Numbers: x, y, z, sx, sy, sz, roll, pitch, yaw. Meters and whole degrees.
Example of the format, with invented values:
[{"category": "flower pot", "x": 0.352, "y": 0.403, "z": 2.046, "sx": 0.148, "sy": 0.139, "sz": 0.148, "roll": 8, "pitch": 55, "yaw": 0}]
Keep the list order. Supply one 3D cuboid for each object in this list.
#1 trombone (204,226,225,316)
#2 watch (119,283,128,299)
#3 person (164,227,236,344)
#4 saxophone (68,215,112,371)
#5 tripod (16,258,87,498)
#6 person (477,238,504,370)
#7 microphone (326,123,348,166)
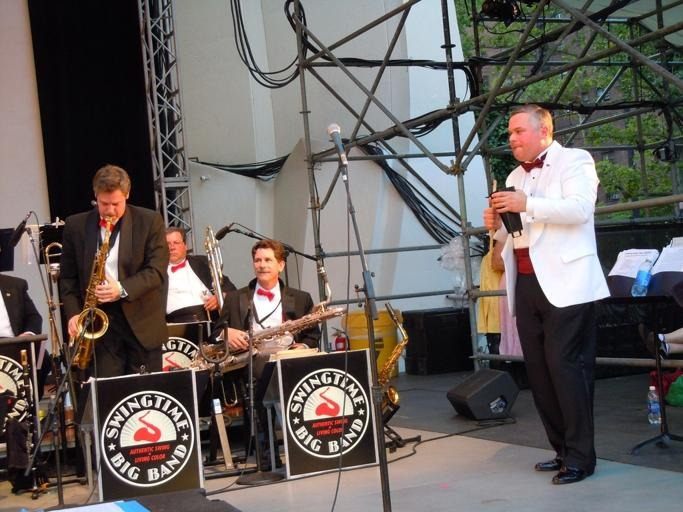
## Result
[{"category": "trombone", "x": -1.259, "y": 0.099, "z": 7.123, "sx": 0.199, "sy": 0.344, "sz": 1.143, "roll": 8, "pitch": 31, "yaw": -24}, {"category": "watch", "x": -1.580, "y": 0.255, "z": 5.291, "sx": 0.037, "sy": 0.095, "sz": 0.065, "roll": -35, "pitch": 38, "yaw": -32}, {"category": "person", "x": -1.472, "y": 0.355, "z": 7.196, "sx": 0.597, "sy": 1.365, "sz": 0.545, "roll": 0, "pitch": 3, "yaw": -12}, {"category": "saxophone", "x": -1.814, "y": 0.321, "z": 5.336, "sx": 0.286, "sy": 1.076, "sz": 0.233, "roll": -5, "pitch": -14, "yaw": 29}, {"category": "tripod", "x": -2.372, "y": 1.062, "z": 5.916, "sx": 0.312, "sy": 1.939, "sz": 0.201, "roll": -9, "pitch": 5, "yaw": -32}, {"category": "person", "x": 1.780, "y": 0.628, "z": 8.568, "sx": 0.273, "sy": 1.715, "sz": 0.291, "roll": 2, "pitch": 4, "yaw": -11}, {"category": "microphone", "x": -0.005, "y": -0.699, "z": 4.540, "sx": 0.108, "sy": 0.117, "sz": 0.419, "roll": 1, "pitch": 37, "yaw": -12}]
